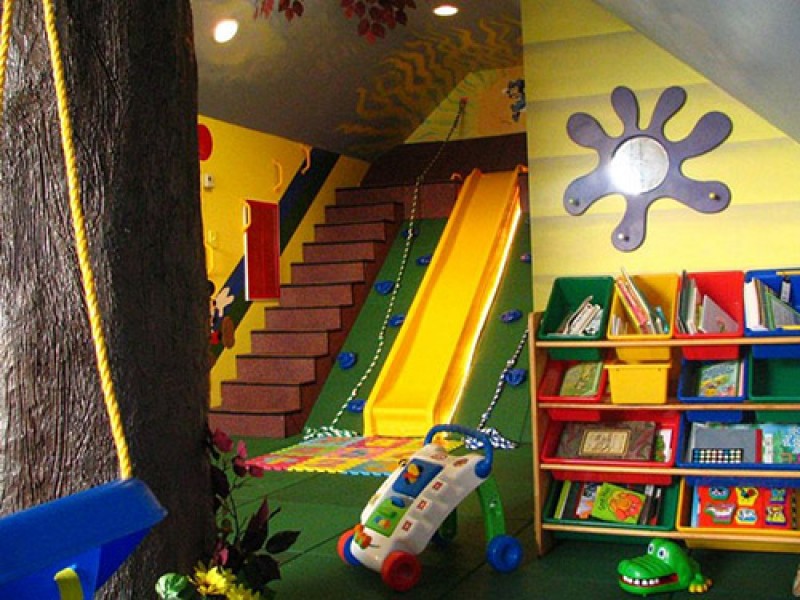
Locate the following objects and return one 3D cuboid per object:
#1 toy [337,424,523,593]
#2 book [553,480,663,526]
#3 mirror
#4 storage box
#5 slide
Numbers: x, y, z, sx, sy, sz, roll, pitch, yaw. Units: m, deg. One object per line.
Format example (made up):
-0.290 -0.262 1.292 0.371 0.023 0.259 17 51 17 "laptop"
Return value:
0.107 0.924 3.260 0.731 0.716 0.649 -3 3 -37 "toy"
0.997 0.985 3.380 0.359 0.237 0.092 0 -36 26 "book"
1.456 -0.781 4.138 0.914 0.992 0.127 2 -3 28 "mirror"
1.288 0.571 3.304 1.205 1.281 0.457 0 1 21 "storage box"
0.467 -0.078 6.412 0.775 2.182 2.203 0 5 27 "slide"
